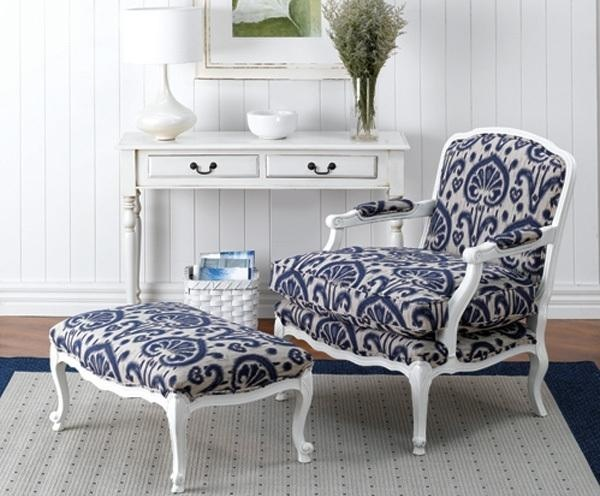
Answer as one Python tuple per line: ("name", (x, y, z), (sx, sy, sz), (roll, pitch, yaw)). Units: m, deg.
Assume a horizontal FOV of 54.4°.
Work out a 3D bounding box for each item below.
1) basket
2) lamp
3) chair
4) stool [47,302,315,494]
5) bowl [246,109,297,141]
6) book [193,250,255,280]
("basket", (-0.340, 0.220, 2.640), (0.311, 0.281, 0.234), (2, 5, 5))
("lamp", (-0.594, -0.762, 2.558), (0.338, 0.571, 0.202), (-2, 15, -9))
("chair", (0.437, 0.061, 2.012), (0.820, 0.872, 0.789), (-6, 15, -18))
("stool", (-0.306, 0.219, 1.635), (0.516, 0.330, 0.722), (-4, 11, -41))
("bowl", (-0.127, -0.548, 2.621), (0.195, 0.085, 0.185), (-1, 6, 0))
("book", (-0.353, 0.084, 2.763), (0.210, 0.021, 0.164), (0, 40, -3))
